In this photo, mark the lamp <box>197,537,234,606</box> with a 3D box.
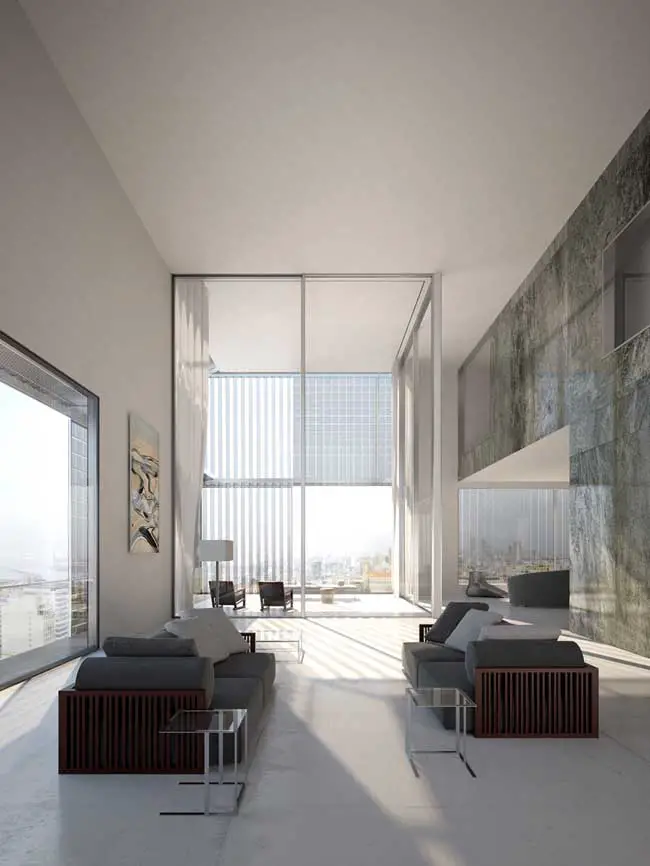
[{"bbox_3d":[-1.581,2.057,8.900,0.416,0.934,2.619,1,-11,-11],"label":"lamp"}]

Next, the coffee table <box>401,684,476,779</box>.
[{"bbox_3d":[0.621,1.615,3.458,0.249,0.436,0.530,0,-4,3],"label":"coffee table"}]

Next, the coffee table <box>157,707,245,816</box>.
[{"bbox_3d":[-0.524,1.443,2.788,0.332,0.361,0.582,0,-10,-5],"label":"coffee table"}]

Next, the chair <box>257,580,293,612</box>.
[{"bbox_3d":[-0.791,2.555,9.722,0.297,0.468,0.547,0,-22,5],"label":"chair"}]

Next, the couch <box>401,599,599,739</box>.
[{"bbox_3d":[1.108,1.651,4.430,1.132,0.654,2.604,-1,-11,1],"label":"couch"}]
